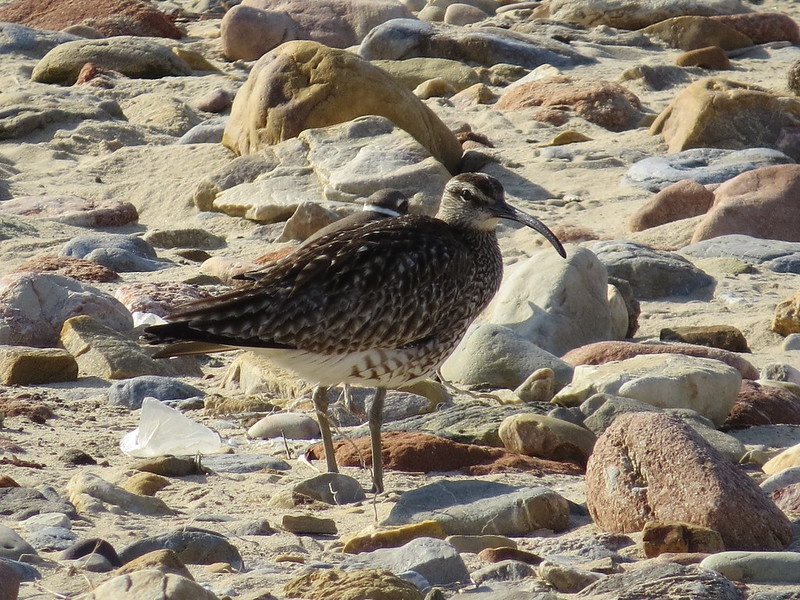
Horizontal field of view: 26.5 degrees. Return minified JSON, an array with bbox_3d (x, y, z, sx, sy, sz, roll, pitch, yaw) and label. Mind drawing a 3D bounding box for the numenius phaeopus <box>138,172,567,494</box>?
[{"bbox_3d":[-0.314,0.154,12.596,3.314,1.869,1.131,-4,6,1],"label":"numenius phaeopus"}]
